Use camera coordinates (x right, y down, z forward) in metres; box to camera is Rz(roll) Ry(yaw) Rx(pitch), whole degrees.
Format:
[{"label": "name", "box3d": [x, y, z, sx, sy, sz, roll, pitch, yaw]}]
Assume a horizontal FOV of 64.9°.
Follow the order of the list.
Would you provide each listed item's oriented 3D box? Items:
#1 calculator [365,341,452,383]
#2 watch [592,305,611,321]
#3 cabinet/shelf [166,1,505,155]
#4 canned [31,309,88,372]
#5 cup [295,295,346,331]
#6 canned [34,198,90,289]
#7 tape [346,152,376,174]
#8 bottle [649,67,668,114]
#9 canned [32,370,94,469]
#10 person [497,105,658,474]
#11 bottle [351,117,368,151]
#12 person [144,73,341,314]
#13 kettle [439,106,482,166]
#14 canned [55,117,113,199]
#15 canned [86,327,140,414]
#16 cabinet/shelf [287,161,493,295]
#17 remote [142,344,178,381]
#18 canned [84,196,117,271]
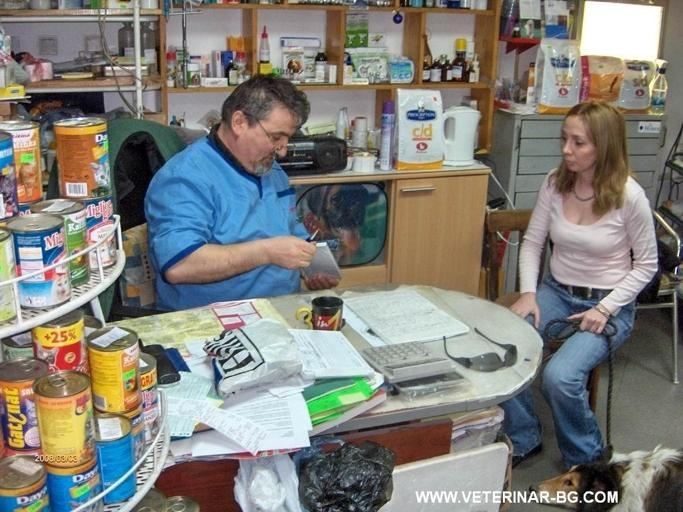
[{"label": "calculator", "box3d": [0.192, 0.294, 1.534, 0.246, 0.057, 0.193, -7, 15, -19]}, {"label": "watch", "box3d": [1.156, 0.244, 2.359, 0.068, 0.027, 0.061, 44, 5, 23]}, {"label": "cabinet/shelf", "box3d": [-0.063, -1.488, 4.523, 2.620, 0.971, 0.420, -6, 20, -26]}, {"label": "canned", "box3d": [-0.470, 0.148, 0.912, 0.070, 0.105, 0.078, -10, 23, -34]}, {"label": "cup", "box3d": [-0.053, 0.181, 1.679, 0.155, 0.110, 0.090, -9, 27, -14]}, {"label": "canned", "box3d": [-0.480, -0.035, 0.935, 0.094, 0.157, 0.065, -4, 24, -20]}, {"label": "tape", "box3d": [0.127, -0.571, 3.313, 0.171, 0.092, 0.160, 2, 16, 2]}, {"label": "bottle", "box3d": [2.317, -1.215, 3.917, 0.108, 0.335, 0.306, 5, 16, 27]}, {"label": "canned", "box3d": [-0.438, 0.258, 0.854, 0.080, 0.133, 0.082, -4, 15, -6]}, {"label": "person", "box3d": [1.111, 0.072, 2.496, 0.808, 1.602, 0.884, 12, 18, 35]}, {"label": "bottle", "box3d": [0.123, -0.818, 3.588, 0.112, 0.218, 0.135, -3, 15, 2]}, {"label": "person", "box3d": [-0.427, -0.209, 2.175, 0.694, 0.992, 0.641, -8, 25, -33]}, {"label": "kettle", "box3d": [0.767, -0.764, 3.529, 0.245, 0.403, 0.228, -3, 22, -20]}, {"label": "canned", "box3d": [-0.482, -0.191, 1.056, 0.100, 0.154, 0.110, -10, 25, -33]}, {"label": "canned", "box3d": [-0.398, 0.202, 0.974, 0.091, 0.137, 0.095, -4, 14, -20]}, {"label": "cabinet/shelf", "box3d": [0.490, -0.305, 4.005, 1.483, 1.180, 0.672, -1, 19, -4]}, {"label": "remote", "box3d": [-0.429, 0.254, 1.268, 0.042, 0.013, 0.133, -3, 30, -27]}, {"label": "canned", "box3d": [-0.448, -0.042, 1.010, 0.044, 0.129, 0.056, -7, 26, -22]}]
